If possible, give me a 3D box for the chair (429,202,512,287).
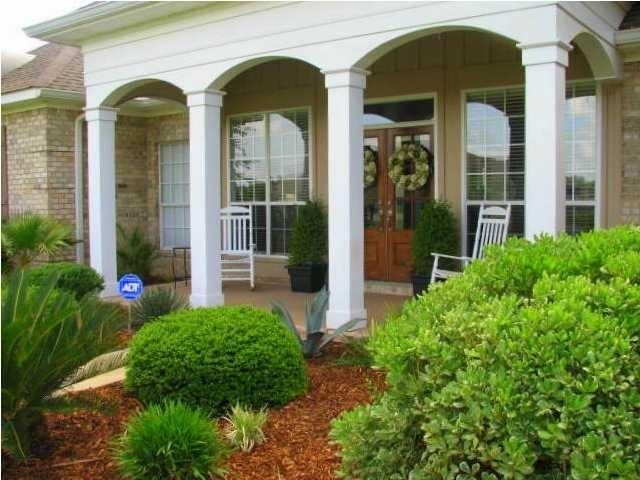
[{"bbox_3d":[1.911,0.069,6.916,0.899,1.387,0.883,1,-7,37],"label":"chair"}]

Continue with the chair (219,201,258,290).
[{"bbox_3d":[-1.390,0.115,8.466,0.799,1.369,0.930,0,3,13],"label":"chair"}]

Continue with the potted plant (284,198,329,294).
[{"bbox_3d":[-0.179,0.115,8.050,0.613,1.409,0.428,4,7,-3],"label":"potted plant"}]
